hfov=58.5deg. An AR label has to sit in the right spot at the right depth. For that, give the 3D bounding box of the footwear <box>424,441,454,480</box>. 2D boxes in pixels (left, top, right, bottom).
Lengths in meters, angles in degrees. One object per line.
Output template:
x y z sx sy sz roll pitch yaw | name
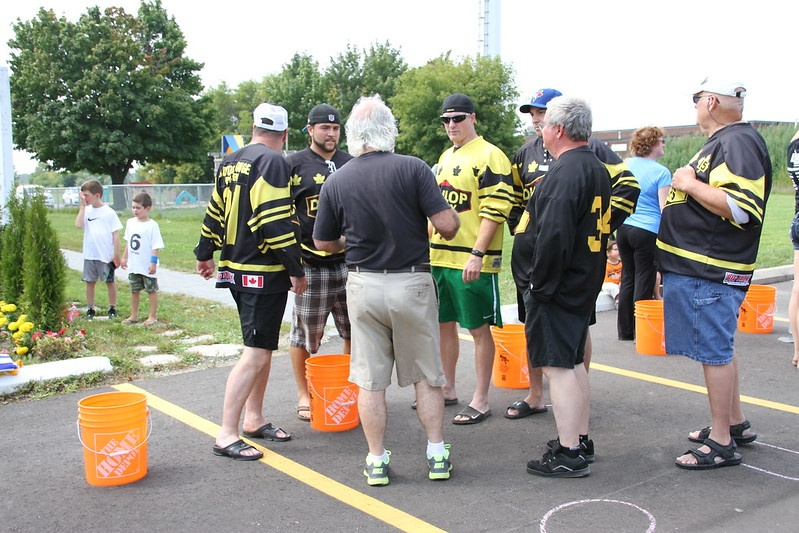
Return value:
0.330 1.626 5.852 0.144 0.147 0.336 -1 4 1 | footwear

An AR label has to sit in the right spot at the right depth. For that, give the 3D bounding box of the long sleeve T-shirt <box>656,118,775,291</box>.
2.605 -0.515 5.957 0.846 1.362 0.402 2 8 24 | long sleeve T-shirt

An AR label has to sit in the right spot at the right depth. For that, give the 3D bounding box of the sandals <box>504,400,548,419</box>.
1.224 1.395 6.948 0.395 0.107 0.151 1 -3 -26 | sandals

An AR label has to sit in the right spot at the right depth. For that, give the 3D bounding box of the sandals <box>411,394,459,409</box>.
0.371 1.367 7.089 0.593 0.194 0.205 2 -3 -12 | sandals

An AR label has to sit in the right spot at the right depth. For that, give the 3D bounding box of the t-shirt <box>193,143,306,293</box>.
-1.337 -0.430 6.295 0.984 1.293 0.359 4 9 36 | t-shirt

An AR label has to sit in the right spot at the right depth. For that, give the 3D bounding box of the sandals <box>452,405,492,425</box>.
0.659 1.421 6.786 0.327 0.083 0.146 4 -8 -44 | sandals

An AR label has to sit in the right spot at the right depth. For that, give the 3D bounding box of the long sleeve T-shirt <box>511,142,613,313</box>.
1.339 -0.289 5.876 0.718 1.407 0.550 1 8 18 | long sleeve T-shirt

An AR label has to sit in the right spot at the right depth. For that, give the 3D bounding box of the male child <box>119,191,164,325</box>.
-3.686 -0.148 10.116 0.583 1.793 1.100 -4 8 -19 | male child

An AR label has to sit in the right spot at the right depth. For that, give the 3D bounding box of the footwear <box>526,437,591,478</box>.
1.309 1.591 5.944 0.611 0.309 0.225 1 -2 10 | footwear

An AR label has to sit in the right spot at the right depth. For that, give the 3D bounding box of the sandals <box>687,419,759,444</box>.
2.809 1.442 6.266 0.580 0.239 0.237 0 2 11 | sandals

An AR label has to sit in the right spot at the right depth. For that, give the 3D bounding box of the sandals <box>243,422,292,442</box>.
-1.225 1.495 6.464 0.332 0.109 0.172 0 0 6 | sandals

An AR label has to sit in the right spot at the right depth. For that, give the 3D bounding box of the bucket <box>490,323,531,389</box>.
1.175 0.968 7.656 0.675 0.607 0.605 -1 -2 6 | bucket

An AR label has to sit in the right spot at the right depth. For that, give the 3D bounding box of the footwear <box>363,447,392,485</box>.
-0.183 1.652 5.785 0.138 0.145 0.332 0 5 -4 | footwear

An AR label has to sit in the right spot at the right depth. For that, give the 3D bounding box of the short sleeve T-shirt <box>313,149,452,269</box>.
-0.184 -0.451 5.885 1.189 0.876 0.551 0 8 16 | short sleeve T-shirt

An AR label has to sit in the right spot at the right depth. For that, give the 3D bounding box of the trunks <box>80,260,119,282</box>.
-4.349 0.080 10.366 0.538 0.461 0.299 1 -8 -13 | trunks

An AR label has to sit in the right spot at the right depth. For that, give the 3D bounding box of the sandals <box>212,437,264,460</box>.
-1.390 1.577 6.152 0.322 0.107 0.181 1 3 9 | sandals

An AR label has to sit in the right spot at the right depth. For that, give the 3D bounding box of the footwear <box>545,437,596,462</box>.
1.470 1.534 5.976 0.528 0.205 0.181 2 2 -1 | footwear

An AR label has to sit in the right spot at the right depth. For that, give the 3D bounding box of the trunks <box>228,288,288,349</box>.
-1.284 0.489 6.462 0.489 0.672 0.618 7 -10 -33 | trunks

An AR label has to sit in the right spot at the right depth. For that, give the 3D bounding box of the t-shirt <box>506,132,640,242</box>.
1.550 -0.688 6.364 1.511 1.095 0.536 2 5 25 | t-shirt

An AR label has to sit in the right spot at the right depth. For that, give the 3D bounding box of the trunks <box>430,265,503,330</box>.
0.611 0.275 6.705 0.664 0.578 0.350 -1 -1 39 | trunks
